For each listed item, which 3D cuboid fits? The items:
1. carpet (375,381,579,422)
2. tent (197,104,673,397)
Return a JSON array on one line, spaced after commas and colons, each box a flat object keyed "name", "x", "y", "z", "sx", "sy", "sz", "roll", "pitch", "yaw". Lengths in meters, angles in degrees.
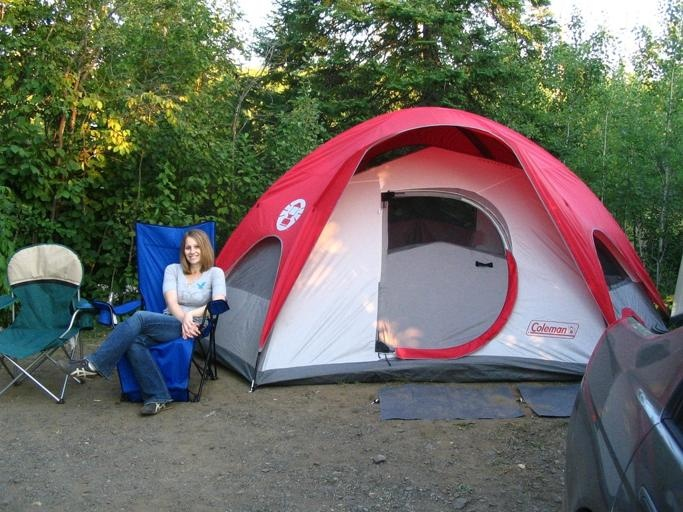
[{"name": "carpet", "x": 1.181, "y": 1.266, "z": 4.601, "sx": 1.726, "sy": 0.062, "sz": 0.720, "roll": 0, "pitch": 10, "yaw": 0}, {"name": "tent", "x": 0.829, "y": -0.148, "z": 5.194, "sx": 4.049, "sy": 2.650, "sz": 1.080, "roll": 0, "pitch": 10, "yaw": 0}]
